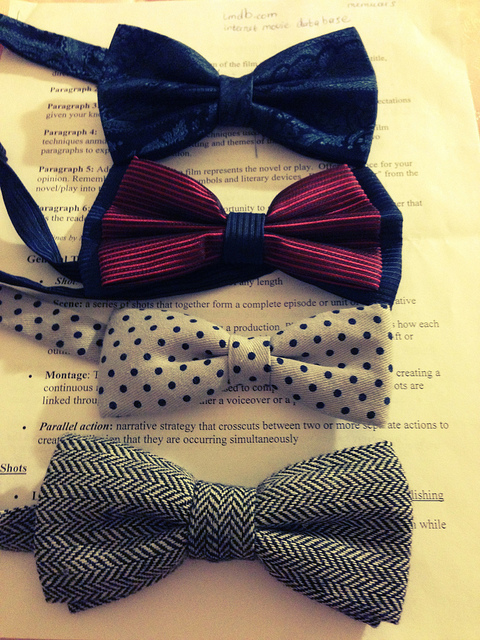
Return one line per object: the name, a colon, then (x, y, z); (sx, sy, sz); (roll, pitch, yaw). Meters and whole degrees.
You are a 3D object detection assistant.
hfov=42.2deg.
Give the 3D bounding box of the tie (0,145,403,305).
tie: (-0.063, -0.134, 0.907); (0.586, 0.173, 0.194); (4, 34, 0)
